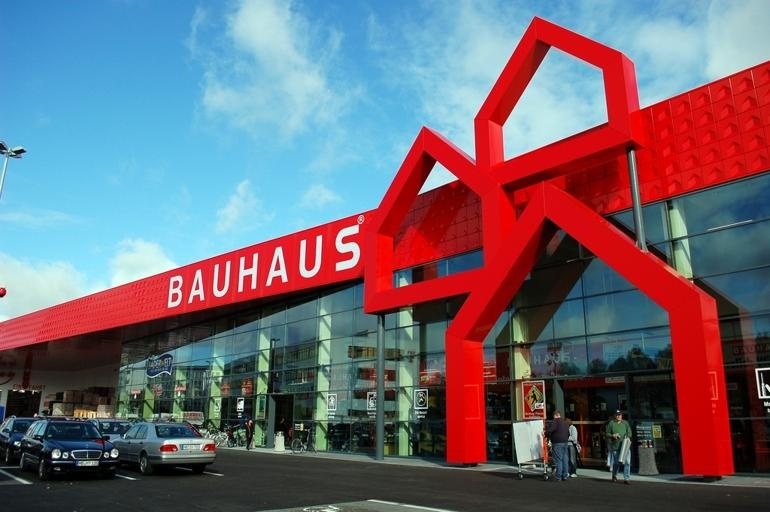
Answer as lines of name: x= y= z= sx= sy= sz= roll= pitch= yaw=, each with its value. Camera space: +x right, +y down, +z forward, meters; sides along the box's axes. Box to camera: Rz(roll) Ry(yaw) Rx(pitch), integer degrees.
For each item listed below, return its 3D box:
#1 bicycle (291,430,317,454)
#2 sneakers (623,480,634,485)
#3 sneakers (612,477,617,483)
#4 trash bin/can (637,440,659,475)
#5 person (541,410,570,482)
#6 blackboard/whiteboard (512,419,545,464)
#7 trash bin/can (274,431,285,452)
bicycle: x=-4.458 y=10.330 z=30.885 sx=0.808 sy=0.995 sz=1.655 roll=-20 pitch=-31 yaw=34
sneakers: x=7.812 y=7.343 z=18.177 sx=0.084 sy=0.097 sz=0.249 roll=5 pitch=-15 yaw=-29
sneakers: x=7.560 y=7.474 z=18.731 sx=0.157 sy=0.167 sz=0.156 roll=-5 pitch=-18 yaw=43
trash bin/can: x=9.461 y=7.300 z=20.261 sx=0.800 sy=1.145 sz=0.804 roll=11 pitch=-23 yaw=-19
person: x=5.845 y=6.522 z=18.995 sx=0.626 sy=1.997 sz=0.709 roll=-2 pitch=-21 yaw=0
blackboard/whiteboard: x=4.978 y=6.412 z=19.393 sx=1.078 sy=1.357 sz=0.704 roll=-2 pitch=-21 yaw=2
trash bin/can: x=-5.841 y=10.450 z=31.550 sx=0.506 sy=1.137 sz=1.375 roll=4 pitch=-21 yaw=-15
